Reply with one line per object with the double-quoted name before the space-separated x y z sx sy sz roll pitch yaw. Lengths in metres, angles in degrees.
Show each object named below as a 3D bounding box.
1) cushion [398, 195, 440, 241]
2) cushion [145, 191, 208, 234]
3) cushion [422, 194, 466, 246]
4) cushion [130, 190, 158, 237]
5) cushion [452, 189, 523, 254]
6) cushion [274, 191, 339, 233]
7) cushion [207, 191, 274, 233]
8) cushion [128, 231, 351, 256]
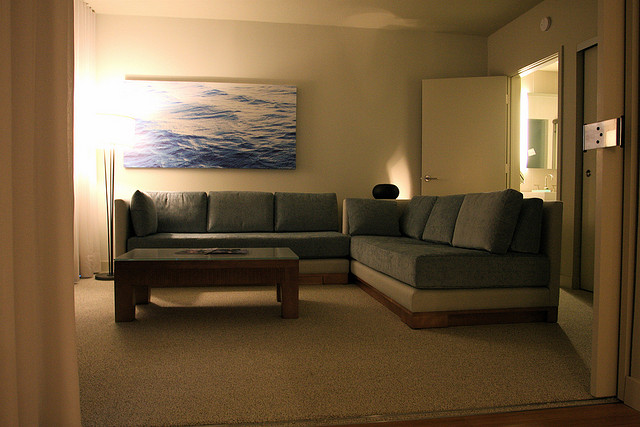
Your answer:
"cushion" 1.018 0.035 4.884 0.125 0.378 0.411 15 0 -7
"cushion" -1.506 -0.050 5.238 0.731 0.461 0.244 3 28 6
"cushion" 1.089 0.048 4.334 0.125 0.380 0.415 13 1 -2
"cushion" -1.673 0.005 4.642 0.163 0.304 0.447 3 6 -6
"cushion" 1.276 0.055 3.933 0.291 0.489 0.733 -5 2 -17
"cushion" -0.144 -0.033 5.389 0.692 0.398 0.464 0 -6 -7
"cushion" -0.846 -0.025 5.269 0.673 0.453 0.145 -3 -2 -13
"cushion" -0.710 0.302 4.746 2.042 0.242 0.676 0 10 -3
